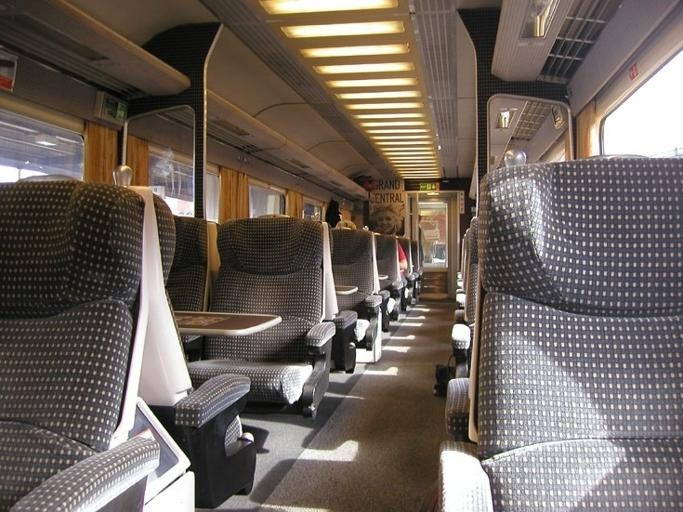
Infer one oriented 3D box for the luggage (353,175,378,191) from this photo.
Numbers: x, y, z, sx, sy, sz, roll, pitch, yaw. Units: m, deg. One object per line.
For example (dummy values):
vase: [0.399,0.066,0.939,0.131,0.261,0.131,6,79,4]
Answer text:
luggage: [0.958,-3.025,19.457,0.704,0.592,0.738,2,24,15]
